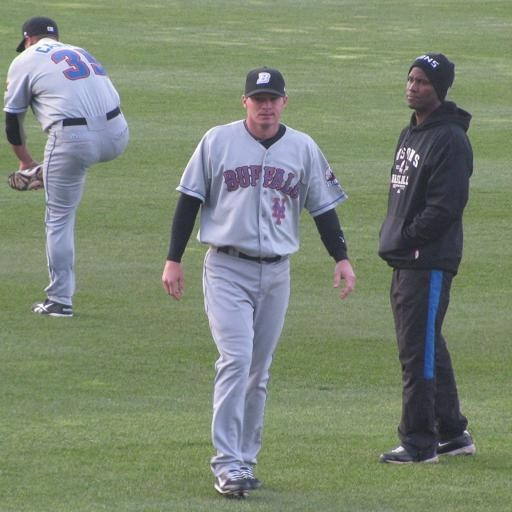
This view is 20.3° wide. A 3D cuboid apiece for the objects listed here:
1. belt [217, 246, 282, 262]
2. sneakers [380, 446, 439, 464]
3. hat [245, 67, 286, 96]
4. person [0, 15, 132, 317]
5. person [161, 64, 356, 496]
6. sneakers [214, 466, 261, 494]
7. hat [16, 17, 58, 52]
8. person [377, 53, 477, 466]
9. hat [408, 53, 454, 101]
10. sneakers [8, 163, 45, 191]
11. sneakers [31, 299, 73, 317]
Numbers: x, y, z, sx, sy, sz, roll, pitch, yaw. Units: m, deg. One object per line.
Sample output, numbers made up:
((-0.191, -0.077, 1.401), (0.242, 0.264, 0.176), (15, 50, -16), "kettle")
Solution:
((-0.033, -0.003, 8.612), (0.405, 0.103, 0.074), (0, 16, -6), "belt")
((0.939, 1.240, 8.820), (0.373, 0.133, 0.115), (3, -6, -6), "sneakers")
((0.058, -1.055, 8.630), (0.239, 0.170, 0.242), (1, 15, 0), "hat")
((-1.499, -0.589, 10.930), (0.698, 2.069, 0.758), (9, 18, 25), "person")
((-0.031, 0.084, 8.587), (0.993, 2.354, 1.289), (8, 18, 22), "person")
((-0.088, 1.314, 8.266), (0.256, 0.123, 0.218), (-7, 18, -29), "sneakers")
((-1.710, -1.740, 11.029), (0.380, 0.183, 0.282), (-8, 0, 28), "hat")
((1.093, 0.017, 8.856), (0.638, 2.430, 1.000), (2, 16, 3), "person")
((1.088, -1.143, 9.062), (0.361, 0.284, 0.280), (7, 1, 43), "hat")
((-1.687, -0.596, 10.902), (0.378, 0.131, 0.172), (3, 54, 33), "sneakers")
((-1.545, 0.395, 10.967), (0.343, 0.128, 0.121), (9, 15, 16), "sneakers")
